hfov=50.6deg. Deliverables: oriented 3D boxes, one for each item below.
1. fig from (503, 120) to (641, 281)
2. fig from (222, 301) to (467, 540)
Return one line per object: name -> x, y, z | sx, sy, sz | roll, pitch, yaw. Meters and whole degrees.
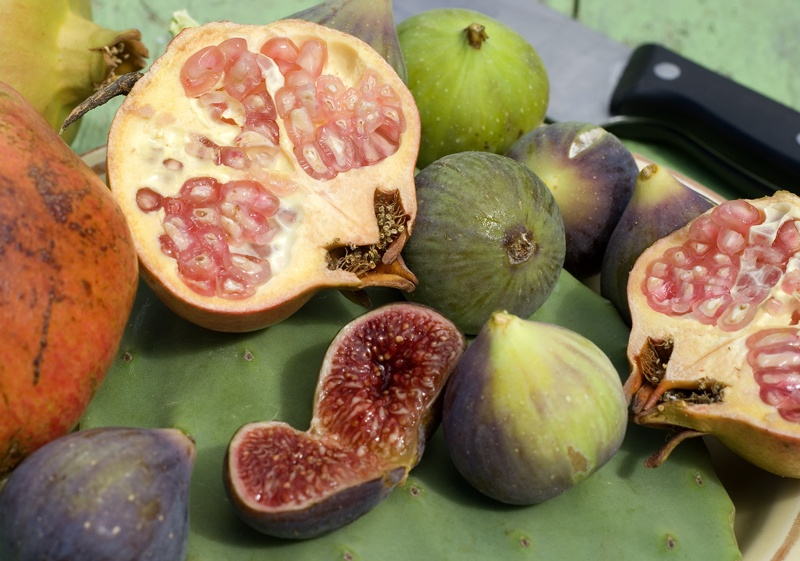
fig -> 0.381, -0.165, 1.972 | 0.244, 0.332, 0.241 | 39, 19, 16
fig -> -0.083, 0.258, 1.567 | 0.276, 0.144, 0.496 | 35, 59, 23
